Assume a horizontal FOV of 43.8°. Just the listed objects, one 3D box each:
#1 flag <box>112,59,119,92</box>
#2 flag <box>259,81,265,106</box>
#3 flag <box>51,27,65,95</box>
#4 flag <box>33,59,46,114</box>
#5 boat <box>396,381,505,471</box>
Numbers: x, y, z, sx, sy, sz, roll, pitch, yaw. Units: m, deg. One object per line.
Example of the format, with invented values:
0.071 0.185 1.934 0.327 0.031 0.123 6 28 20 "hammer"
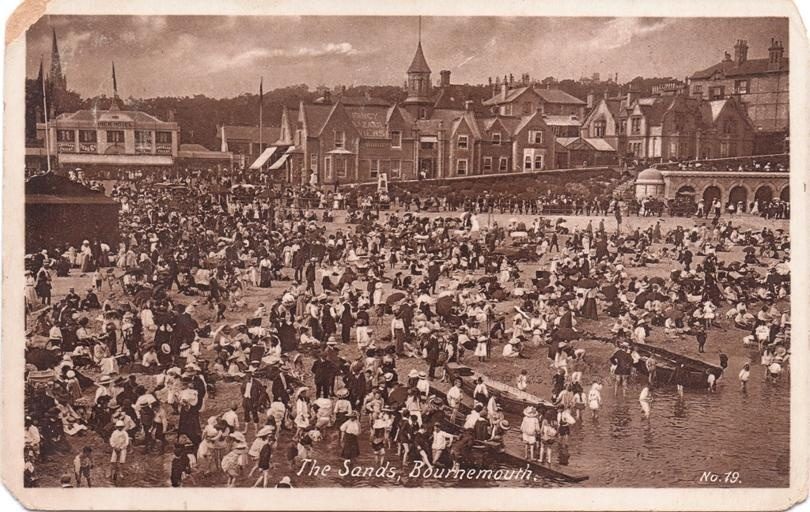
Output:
-5.463 -3.338 18.924 0.104 0.524 0.156 -2 2 -10 "flag"
-2.743 -3.035 19.211 0.080 0.253 0.380 -2 2 -10 "flag"
-6.415 -3.617 18.661 0.281 1.096 0.195 -3 3 -31 "flag"
-6.728 -3.096 18.618 0.152 0.954 0.165 -1 2 15 "flag"
0.706 3.151 17.930 1.198 0.636 1.910 3 -4 -29 "boat"
